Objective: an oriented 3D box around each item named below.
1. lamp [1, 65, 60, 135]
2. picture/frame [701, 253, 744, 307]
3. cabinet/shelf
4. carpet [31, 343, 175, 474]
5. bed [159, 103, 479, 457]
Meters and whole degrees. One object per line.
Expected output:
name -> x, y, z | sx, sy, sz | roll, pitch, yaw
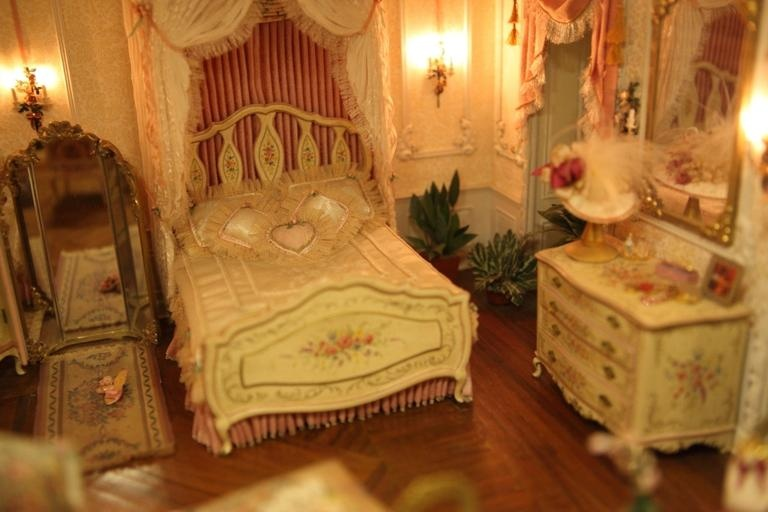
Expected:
lamp -> -3.192, -1.439, 5.286 | 0.368, 0.596, 0.141 | -14, 20, -26
picture/frame -> 2.305, 0.170, 3.949 | 0.074, 0.298, 0.278 | 2, 19, -28
cabinet/shelf -> 1.950, 0.728, 4.724 | 1.000, 1.227, 1.625 | -7, 19, -12
carpet -> -2.388, 1.241, 4.943 | 1.046, 0.085, 1.472 | 8, 29, -24
bed -> -0.784, -0.193, 5.503 | 2.398, 2.008, 3.114 | -8, 28, -17
